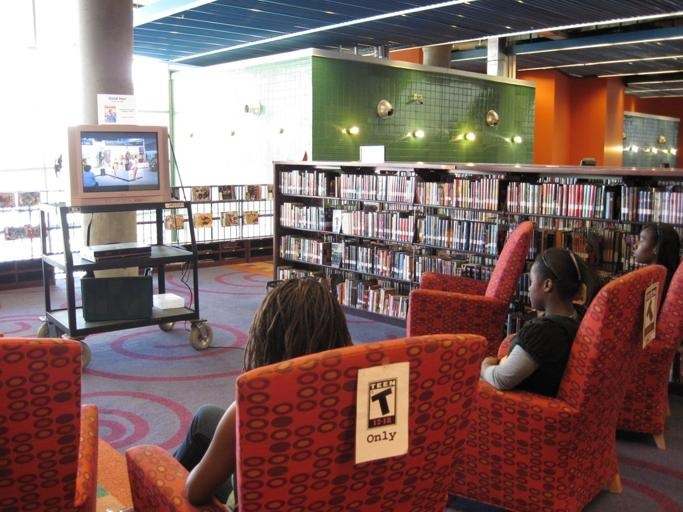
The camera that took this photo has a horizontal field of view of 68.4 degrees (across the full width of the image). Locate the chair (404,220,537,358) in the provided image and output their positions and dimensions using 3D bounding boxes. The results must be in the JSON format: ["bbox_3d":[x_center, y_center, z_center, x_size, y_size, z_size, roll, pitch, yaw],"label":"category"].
[{"bbox_3d":[0.991,0.336,4.088,1.162,1.125,0.991,-4,7,-6],"label":"chair"}]

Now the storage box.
[{"bbox_3d":[-2.186,0.301,4.912,0.797,0.487,0.422,0,5,-15],"label":"storage box"}]

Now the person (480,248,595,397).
[{"bbox_3d":[1.040,0.331,2.696,0.542,0.708,0.791,5,12,34],"label":"person"}]

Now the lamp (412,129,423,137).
[{"bbox_3d":[1.696,-2.645,10.900,0.084,0.176,0.361,7,12,35],"label":"lamp"}]

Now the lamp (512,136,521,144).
[{"bbox_3d":[4.618,-3.031,13.139,0.086,0.208,0.486,9,13,42],"label":"lamp"}]

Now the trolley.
[{"bbox_3d":[-2.378,0.305,5.360,1.950,1.698,1.046,-6,11,-27],"label":"trolley"}]
